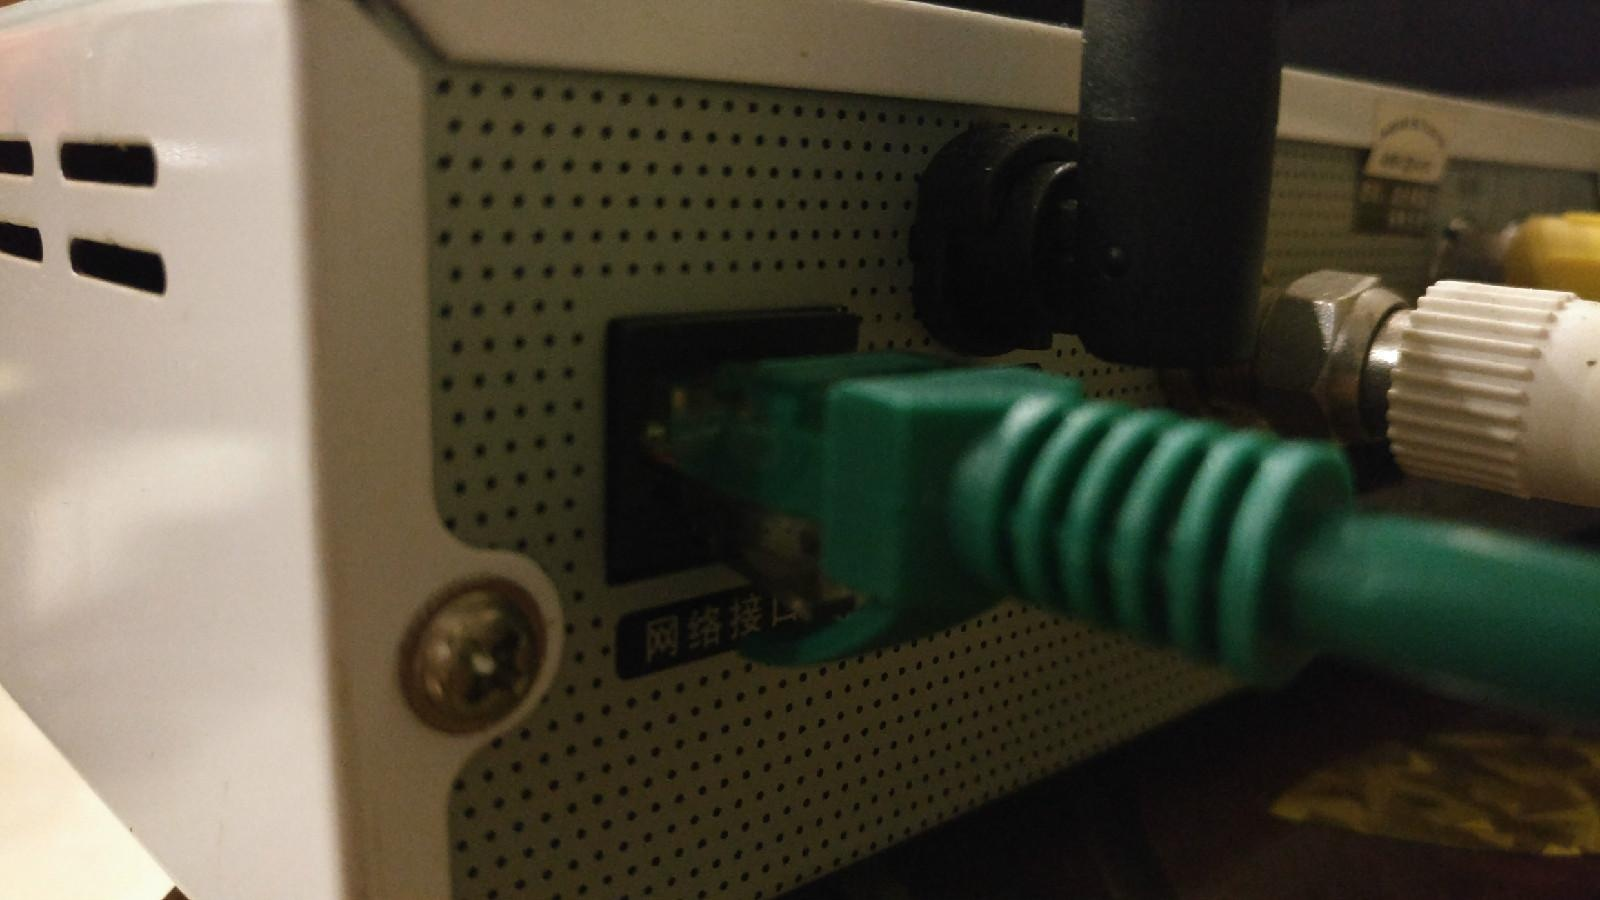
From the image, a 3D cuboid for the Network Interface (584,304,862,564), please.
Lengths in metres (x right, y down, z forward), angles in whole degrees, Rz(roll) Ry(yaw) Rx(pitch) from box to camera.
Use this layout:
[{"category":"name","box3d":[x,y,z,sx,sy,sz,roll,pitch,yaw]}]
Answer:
[{"category":"Network Interface","box3d":[-0.061,-0.007,0.878,0.173,0.168,0.017,-6,9,-32]}]
